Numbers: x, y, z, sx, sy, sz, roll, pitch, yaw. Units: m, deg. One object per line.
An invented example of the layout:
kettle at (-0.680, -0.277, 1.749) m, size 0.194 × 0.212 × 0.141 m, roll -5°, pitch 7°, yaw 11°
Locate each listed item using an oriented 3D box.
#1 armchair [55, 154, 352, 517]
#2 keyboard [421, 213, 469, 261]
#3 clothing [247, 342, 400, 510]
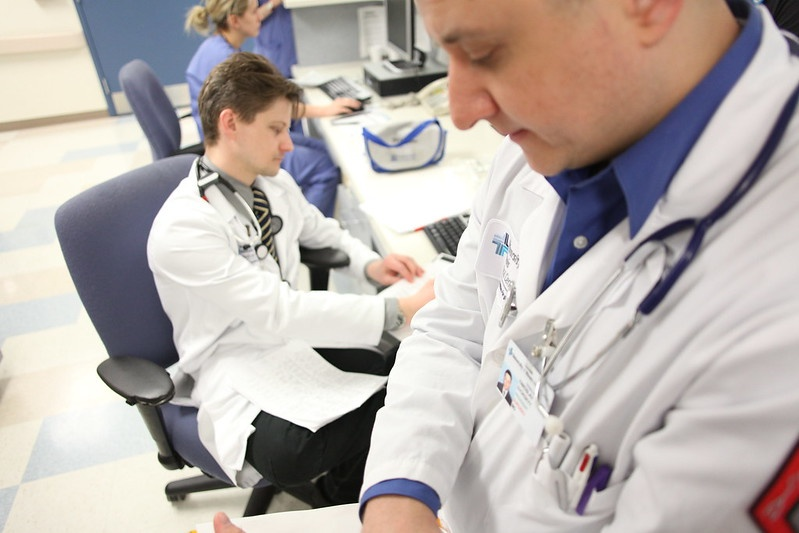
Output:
armchair at (-0.436, 0.356, 2.043) m, size 0.702 × 1.207 × 0.908 m, roll 14°, pitch 31°, yaw 41°
keyboard at (0.169, -0.078, 2.005) m, size 0.124 × 0.033 × 0.182 m, roll -25°, pitch 41°, yaw 20°
clothing at (-0.310, 0.409, 2.001) m, size 0.167 × 0.436 × 0.573 m, roll 25°, pitch 87°, yaw 44°
